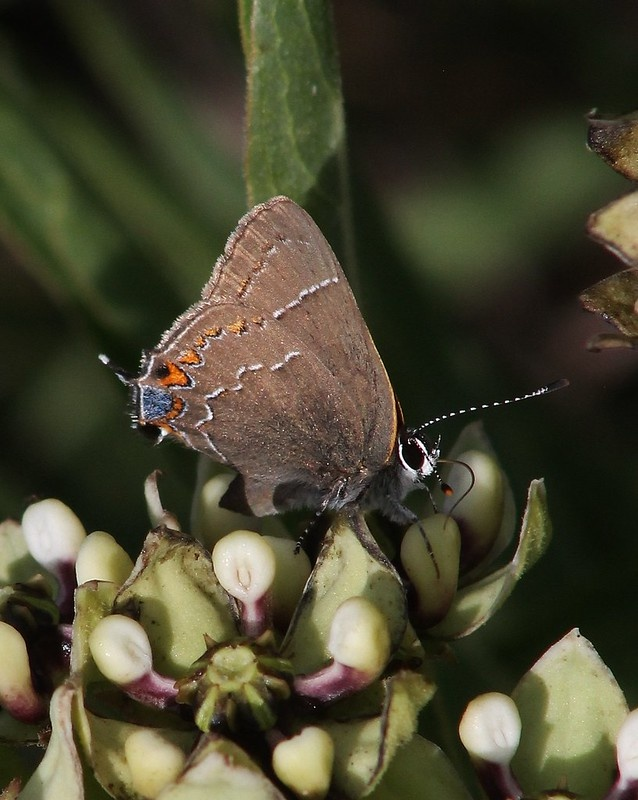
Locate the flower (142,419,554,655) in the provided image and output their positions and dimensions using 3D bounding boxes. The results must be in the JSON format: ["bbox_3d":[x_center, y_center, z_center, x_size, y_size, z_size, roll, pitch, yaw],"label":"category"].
[{"bbox_3d":[0.153,0.266,1.500,0.413,0.228,0.370,9,25,-20],"label":"flower"}]
